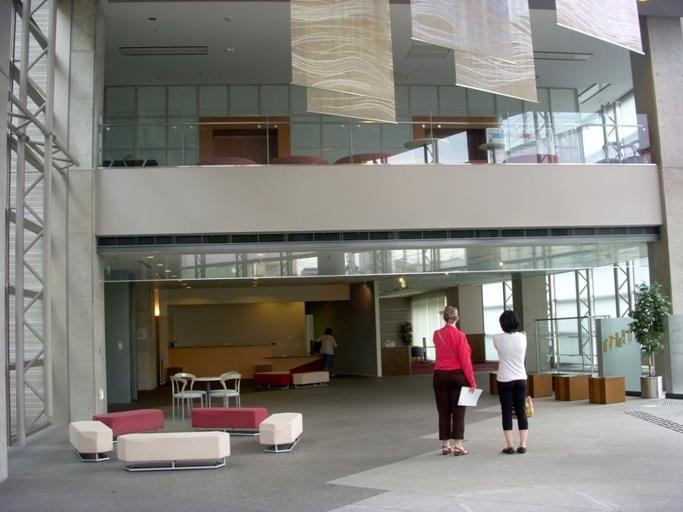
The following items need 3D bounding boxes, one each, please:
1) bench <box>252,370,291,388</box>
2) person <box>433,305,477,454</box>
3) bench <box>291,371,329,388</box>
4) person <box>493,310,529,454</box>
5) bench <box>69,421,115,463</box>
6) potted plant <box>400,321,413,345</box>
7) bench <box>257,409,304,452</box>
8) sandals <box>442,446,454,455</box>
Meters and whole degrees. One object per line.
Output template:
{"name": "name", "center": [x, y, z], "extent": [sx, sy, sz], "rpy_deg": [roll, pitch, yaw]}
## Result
{"name": "bench", "center": [-2.182, 3.979, 20.462], "extent": [0.808, 0.446, 1.219], "rpy_deg": [0, -7, -26]}
{"name": "person", "center": [1.618, 1.816, 9.233], "extent": [0.644, 2.136, 0.439], "rpy_deg": [-6, -8, 23]}
{"name": "bench", "center": [-1.047, 3.964, 20.515], "extent": [0.397, 0.444, 1.400], "rpy_deg": [-9, -9, 41]}
{"name": "person", "center": [2.496, 1.839, 9.385], "extent": [0.482, 2.063, 0.900], "rpy_deg": [-5, -7, 14]}
{"name": "bench", "center": [-4.010, 2.939, 10.132], "extent": [0.398, 0.348, 0.941], "rpy_deg": [1, -5, -25]}
{"name": "potted plant", "center": [2.981, 3.649, 30.052], "extent": [0.534, 1.085, 1.230], "rpy_deg": [-2, -7, -8]}
{"name": "bench", "center": [-1.015, 2.884, 10.405], "extent": [0.481, 0.510, 0.863], "rpy_deg": [-5, -7, 11]}
{"name": "sandals", "center": [1.537, 2.864, 9.370], "extent": [0.122, 0.084, 0.327], "rpy_deg": [-1, -9, 6]}
